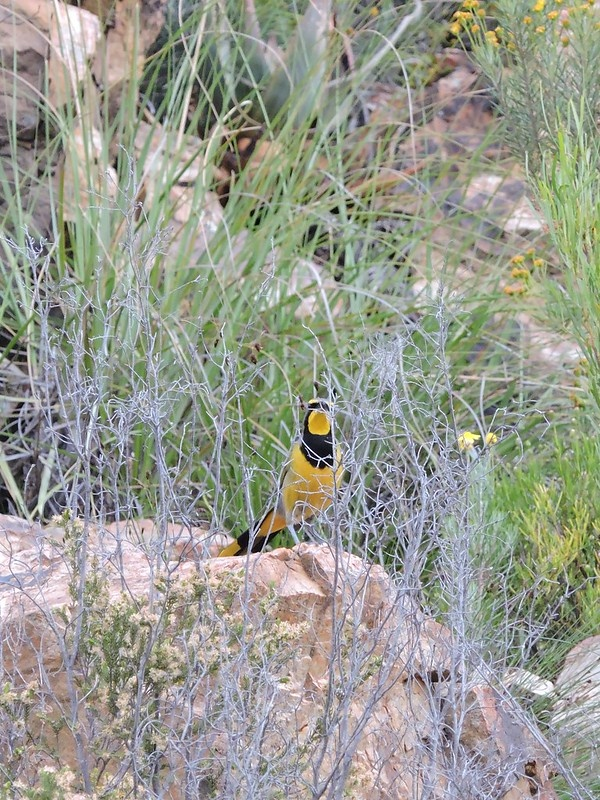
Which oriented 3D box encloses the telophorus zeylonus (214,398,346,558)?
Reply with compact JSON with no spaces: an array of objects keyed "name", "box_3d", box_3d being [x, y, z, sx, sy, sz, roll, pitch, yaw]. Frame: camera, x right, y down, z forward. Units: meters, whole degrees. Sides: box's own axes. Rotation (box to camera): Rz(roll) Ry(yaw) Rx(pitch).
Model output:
[{"name":"telophorus zeylonus","box_3d":[-0.034,0.211,2.838,0.114,0.456,0.277,14,59,-27]}]
